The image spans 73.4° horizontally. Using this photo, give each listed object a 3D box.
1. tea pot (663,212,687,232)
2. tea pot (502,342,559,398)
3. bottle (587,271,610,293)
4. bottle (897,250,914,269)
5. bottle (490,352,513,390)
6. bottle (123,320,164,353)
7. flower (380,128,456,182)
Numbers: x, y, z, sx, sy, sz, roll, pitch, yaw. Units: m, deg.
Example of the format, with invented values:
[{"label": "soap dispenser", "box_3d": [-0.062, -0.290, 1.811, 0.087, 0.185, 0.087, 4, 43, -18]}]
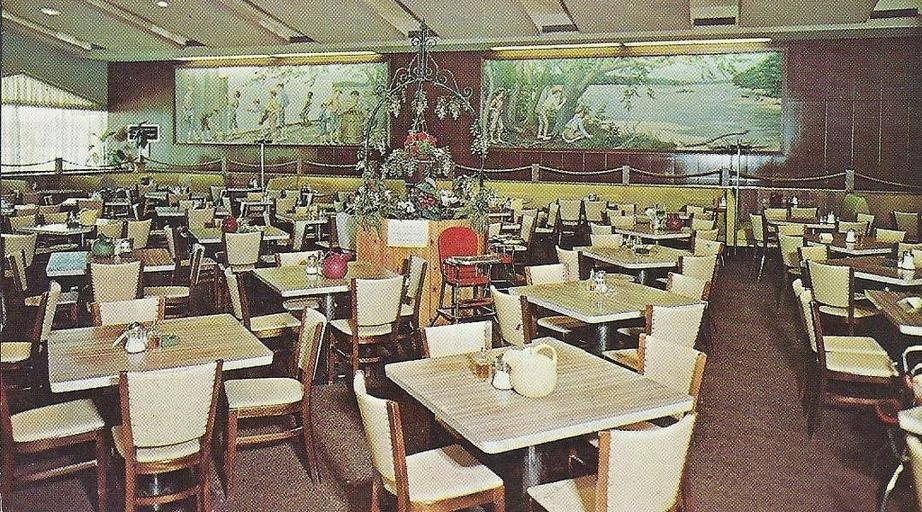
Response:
[{"label": "tea pot", "box_3d": [3.398, -0.539, 9.913, 0.415, 0.378, 0.409, -5, 5, 0]}, {"label": "tea pot", "box_3d": [0.511, 0.832, 4.515, 0.393, 0.359, 0.209, 0, 9, 5]}, {"label": "bottle", "box_3d": [1.412, 0.256, 6.379, 0.221, 0.225, 0.215, 0, 6, 19]}, {"label": "bottle", "box_3d": [5.073, 0.046, 7.096, 0.226, 0.254, 0.161, 1, -1, 44]}, {"label": "bottle", "box_3d": [0.303, 0.835, 4.627, 0.233, 0.255, 0.273, 0, 4, 4]}, {"label": "bottle", "box_3d": [-2.545, 0.673, 5.103, 0.215, 0.330, 0.361, -1, -3, 31]}, {"label": "flower", "box_3d": [-0.593, -1.399, 8.427, 0.898, 0.647, 0.507, -2, 9, -7]}]
